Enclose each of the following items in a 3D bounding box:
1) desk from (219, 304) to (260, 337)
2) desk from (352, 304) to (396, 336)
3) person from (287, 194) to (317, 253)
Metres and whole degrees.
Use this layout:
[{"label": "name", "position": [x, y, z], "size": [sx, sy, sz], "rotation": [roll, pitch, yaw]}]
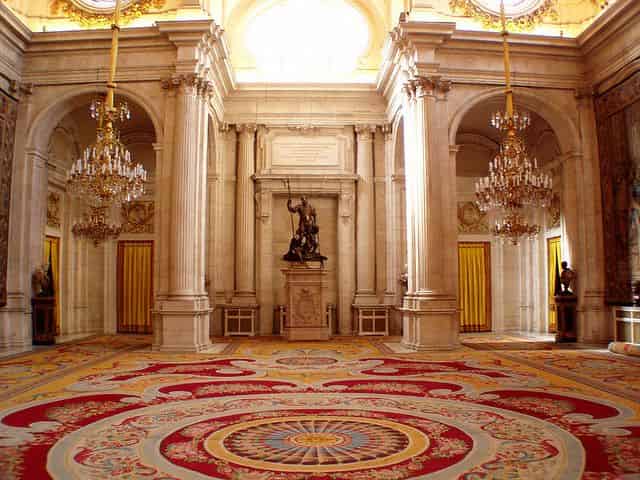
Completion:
[{"label": "desk", "position": [-2.268, 2.243, 14.207], "size": [1.522, 0.988, 0.849], "rotation": [0, -7, -4]}, {"label": "desk", "position": [1.478, 2.132, 14.324], "size": [1.589, 0.785, 0.869], "rotation": [0, -8, 0]}, {"label": "person", "position": [-0.440, -0.372, 13.318], "size": [0.541, 1.503, 0.976], "rotation": [-6, -10, 41]}]
